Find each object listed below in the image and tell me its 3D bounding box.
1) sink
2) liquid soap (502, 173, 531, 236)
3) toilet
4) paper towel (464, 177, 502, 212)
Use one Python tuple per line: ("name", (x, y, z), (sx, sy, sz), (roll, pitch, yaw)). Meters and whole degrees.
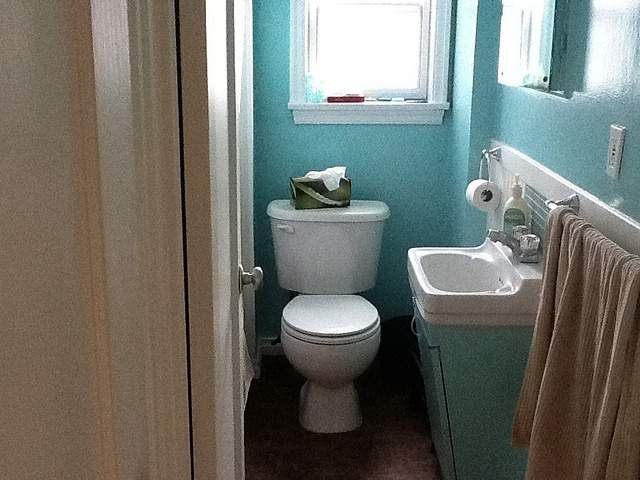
("sink", (0.524, 0.122, 1.981), (0.447, 0.221, 0.603), (2, 14, 3))
("liquid soap", (0.684, -0.112, 1.991), (0.071, 0.238, 0.078), (1, 9, 0))
("toilet", (0.037, 0.300, 2.626), (0.617, 0.978, 0.974), (0, 13, -1))
("paper towel", (0.611, -0.162, 2.108), (0.124, 0.115, 0.061), (3, 21, 13))
